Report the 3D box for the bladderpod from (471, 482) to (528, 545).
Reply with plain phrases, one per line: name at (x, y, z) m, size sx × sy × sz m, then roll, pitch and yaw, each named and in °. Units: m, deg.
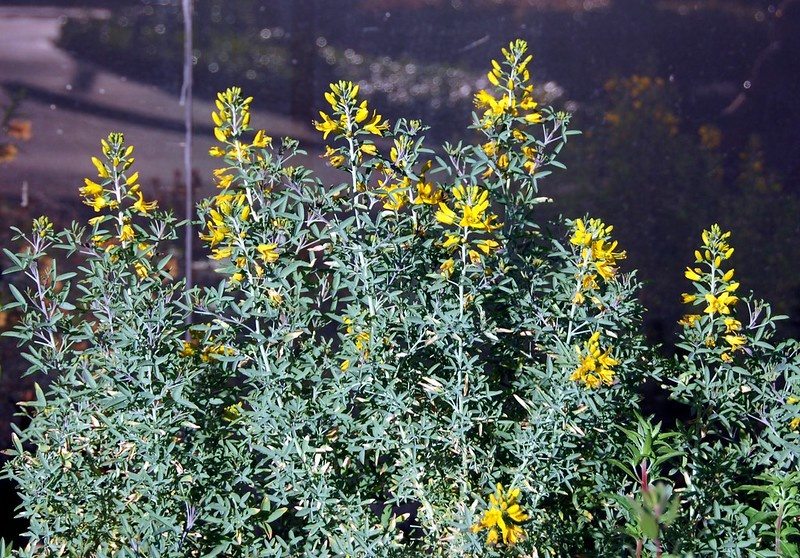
bladderpod at (0.333, 0.773, 4.536) m, size 0.181 × 0.169 × 0.116 m, roll 4°, pitch 27°, yaw 6°
